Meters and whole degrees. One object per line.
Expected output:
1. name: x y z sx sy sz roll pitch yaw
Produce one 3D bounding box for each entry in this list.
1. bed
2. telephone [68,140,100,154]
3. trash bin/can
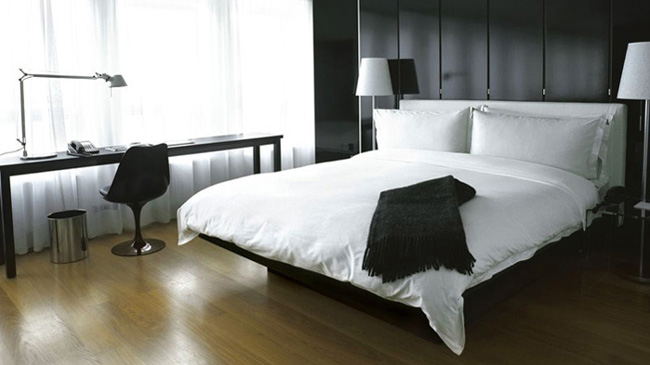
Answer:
1. bed: 0.616 0.380 4.036 2.980 1.126 2.439 8 16 37
2. telephone: -2.686 -0.389 4.639 0.294 0.099 0.206 -3 21 -6
3. trash bin/can: -2.773 0.591 4.525 0.497 0.595 0.376 -6 11 -38
